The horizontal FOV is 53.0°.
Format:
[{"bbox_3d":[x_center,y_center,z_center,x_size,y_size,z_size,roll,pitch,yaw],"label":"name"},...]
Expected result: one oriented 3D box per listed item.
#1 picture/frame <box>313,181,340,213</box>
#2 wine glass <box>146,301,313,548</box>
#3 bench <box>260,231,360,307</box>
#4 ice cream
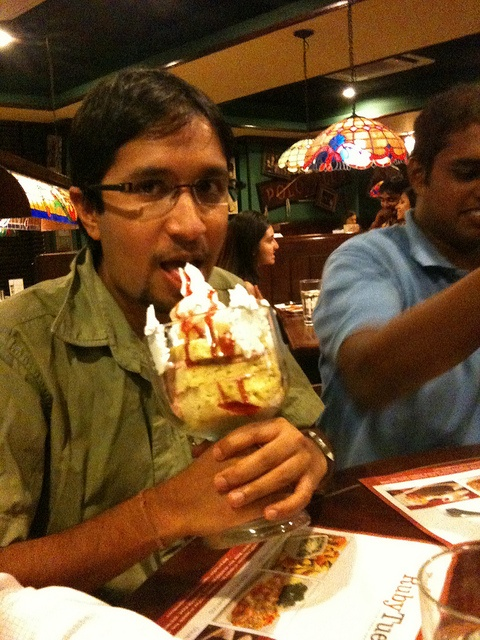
[{"bbox_3d":[2.336,-3.385,13.251,1.001,0.654,0.135,13,-1,-44],"label":"picture/frame"},{"bbox_3d":[-0.038,0.105,0.865,0.238,0.340,0.168,-5,1,4],"label":"wine glass"},{"bbox_3d":[0.790,-0.756,7.084,1.801,1.533,0.978,-1,3,1],"label":"bench"},{"bbox_3d":[-0.033,0.061,0.920,0.251,0.300,0.235,-6,-11,-21],"label":"ice cream"}]
